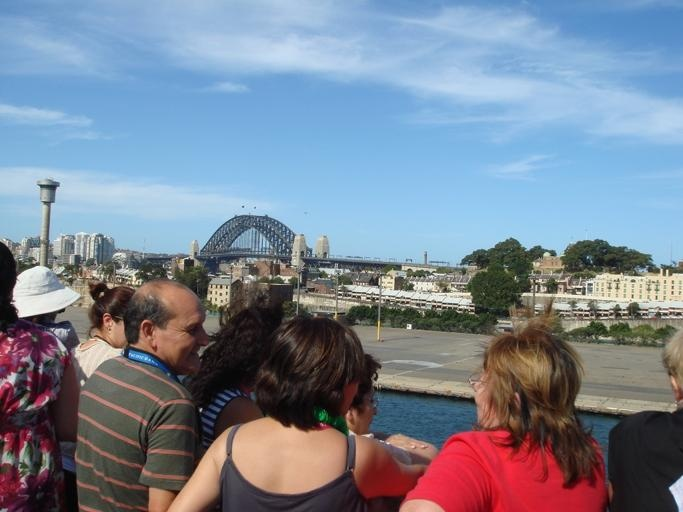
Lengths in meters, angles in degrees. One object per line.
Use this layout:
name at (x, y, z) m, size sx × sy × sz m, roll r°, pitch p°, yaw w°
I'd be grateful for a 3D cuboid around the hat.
hat at (-1.849, 0.222, 3.877) m, size 0.376 × 0.341 × 0.522 m, roll 4°, pitch -1°, yaw -27°
